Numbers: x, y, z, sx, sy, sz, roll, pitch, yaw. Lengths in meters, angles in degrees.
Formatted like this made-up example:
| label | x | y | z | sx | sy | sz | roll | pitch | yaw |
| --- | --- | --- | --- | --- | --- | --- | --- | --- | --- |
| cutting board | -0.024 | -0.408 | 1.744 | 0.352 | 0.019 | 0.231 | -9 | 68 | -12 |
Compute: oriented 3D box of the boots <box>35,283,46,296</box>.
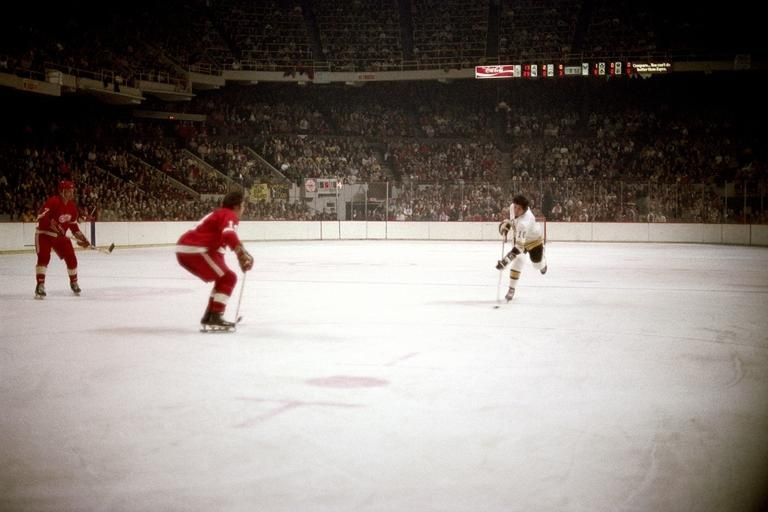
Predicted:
| label | x | y | z | sx | sy | sz | roll | pitch | yaw |
| --- | --- | --- | --- | --- | --- | --- | --- | --- | --- |
| boots | -7.173 | 0.707 | 12.832 | 0.153 | 0.307 | 0.216 | -1 | 6 | -26 |

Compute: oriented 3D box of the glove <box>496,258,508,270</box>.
| label | x | y | z | sx | sy | sz | roll | pitch | yaw |
| --- | --- | --- | --- | --- | --- | --- | --- | --- | --- |
| glove | 2.307 | 0.148 | 12.161 | 0.201 | 0.172 | 0.476 | -41 | -15 | 8 |

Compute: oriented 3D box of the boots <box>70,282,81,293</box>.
| label | x | y | z | sx | sy | sz | roll | pitch | yaw |
| --- | --- | --- | --- | --- | --- | --- | --- | --- | --- |
| boots | -6.783 | 0.709 | 13.539 | 0.221 | 0.342 | 0.232 | 3 | -7 | -27 |

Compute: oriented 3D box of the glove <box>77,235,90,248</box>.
| label | x | y | z | sx | sy | sz | roll | pitch | yaw |
| --- | --- | --- | --- | --- | --- | --- | --- | --- | --- |
| glove | -6.737 | -0.326 | 13.787 | 0.204 | 0.234 | 0.633 | -2 | -3 | -21 |

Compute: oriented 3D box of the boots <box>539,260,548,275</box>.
| label | x | y | z | sx | sy | sz | roll | pitch | yaw |
| --- | --- | --- | --- | --- | --- | --- | --- | --- | --- |
| boots | 4.038 | 0.292 | 15.689 | 0.247 | 0.420 | 0.214 | 0 | -7 | 7 |
